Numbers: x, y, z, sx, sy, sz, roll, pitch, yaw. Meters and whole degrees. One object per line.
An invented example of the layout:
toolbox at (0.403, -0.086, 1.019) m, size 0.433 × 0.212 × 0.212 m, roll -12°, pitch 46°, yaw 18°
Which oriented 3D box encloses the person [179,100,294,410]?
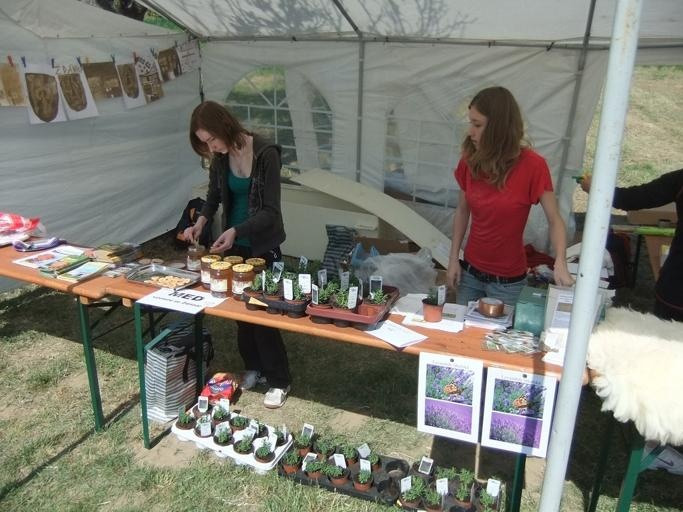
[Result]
person at (-0.694, 0.051, 3.353) m, size 0.826 × 2.206 × 0.566 m, roll 13°, pitch 25°, yaw 31°

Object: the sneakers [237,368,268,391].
sneakers at (-0.667, 1.015, 3.762) m, size 0.332 × 0.127 × 0.106 m, roll 6°, pitch 3°, yaw -16°

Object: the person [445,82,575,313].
person at (0.981, -0.283, 2.733) m, size 0.298 × 1.330 × 0.854 m, roll -19°, pitch 27°, yaw -40°

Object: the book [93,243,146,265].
book at (-1.600, -0.019, 3.374) m, size 0.228 × 0.071 × 0.201 m, roll 6°, pitch 13°, yaw 14°

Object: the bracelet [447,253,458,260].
bracelet at (0.793, 0.009, 3.346) m, size 0.109 × 0.036 × 0.076 m, roll -3°, pitch 11°, yaw -7°

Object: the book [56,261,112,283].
book at (-1.755, 0.111, 3.190) m, size 0.230 × 0.045 × 0.290 m, roll 9°, pitch 22°, yaw 25°
